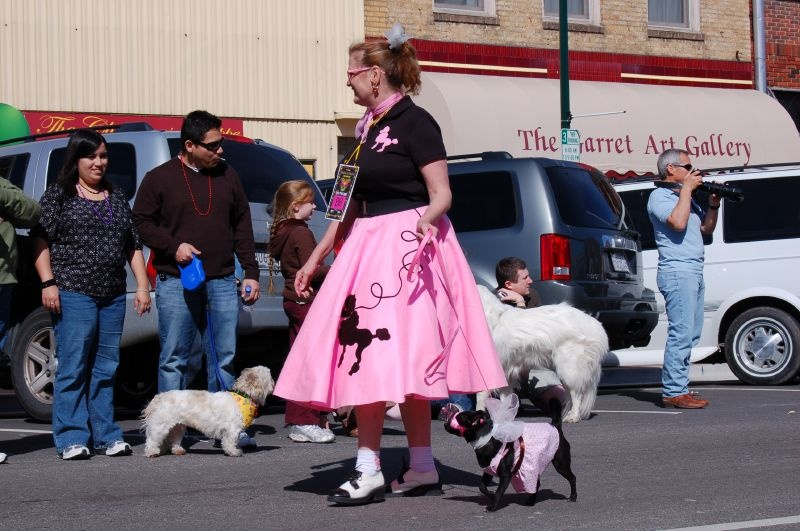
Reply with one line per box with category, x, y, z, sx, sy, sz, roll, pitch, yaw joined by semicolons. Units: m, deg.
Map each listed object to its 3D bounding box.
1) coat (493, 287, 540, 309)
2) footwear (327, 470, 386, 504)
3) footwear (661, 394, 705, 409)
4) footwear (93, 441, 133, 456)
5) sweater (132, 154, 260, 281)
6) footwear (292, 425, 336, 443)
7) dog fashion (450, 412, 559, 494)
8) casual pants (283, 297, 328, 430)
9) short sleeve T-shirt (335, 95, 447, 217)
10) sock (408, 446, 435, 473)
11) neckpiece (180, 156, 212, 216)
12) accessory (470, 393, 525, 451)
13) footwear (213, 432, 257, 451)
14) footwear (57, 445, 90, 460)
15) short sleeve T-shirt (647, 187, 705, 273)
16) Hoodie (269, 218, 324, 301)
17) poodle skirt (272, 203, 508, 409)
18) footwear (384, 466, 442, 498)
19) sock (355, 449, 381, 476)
coat;1.218;0.347;11.197;0.339;0.134;0.247;15;5;-30
footwear;-0.302;1.675;8.082;0.471;0.238;0.196;1;-2;-30
footwear;3.041;1.489;11.752;0.442;0.198;0.179;-4;-1;22
footwear;-2.576;1.675;9.699;0.317;0.144;0.141;-10;-14;29
sweater;-1.836;-0.460;9.946;1.135;1.115;0.644;-2;9;-33
footwear;-0.850;1.616;10.357;0.428;0.224;0.160;0;0;14
dog fashion;0.770;1.336;7.953;0.753;0.396;0.482;28;23;-21
casual pants;-0.969;0.913;10.265;0.640;1.105;0.482;1;18;2
short sleeve T-shirt;-0.032;-0.842;8.104;0.687;0.921;0.259;0;0;0
sock;0.158;1.476;8.186;0.189;0.203;0.189;1;6;10
neckpiece;-1.842;-0.708;9.760;0.189;0.611;0.031;-9;-21;-30
accessory;0.748;1.131;7.914;0.282;0.350;0.243;0;1;5
footwear;-1.580;1.620;10.002;0.502;0.226;0.174;-4;-1;23
footwear;-2.890;1.668;9.559;0.263;0.120;0.109;-14;-13;30
short sleeve T-shirt;2.991;-0.396;11.836;0.513;1.019;0.900;-12;-13;33
Hoodie;-1.030;-0.085;10.245;0.719;0.871;0.653;-2;1;-21
poodle skirt;-0.099;0.363;8.440;1.708;1.719;1.377;1;2;-2
footwear;0.112;1.687;8.266;0.379;0.170;0.181;1;-2;0
sock;-0.245;1.483;8.075;0.193;0.197;0.148;1;0;-15
